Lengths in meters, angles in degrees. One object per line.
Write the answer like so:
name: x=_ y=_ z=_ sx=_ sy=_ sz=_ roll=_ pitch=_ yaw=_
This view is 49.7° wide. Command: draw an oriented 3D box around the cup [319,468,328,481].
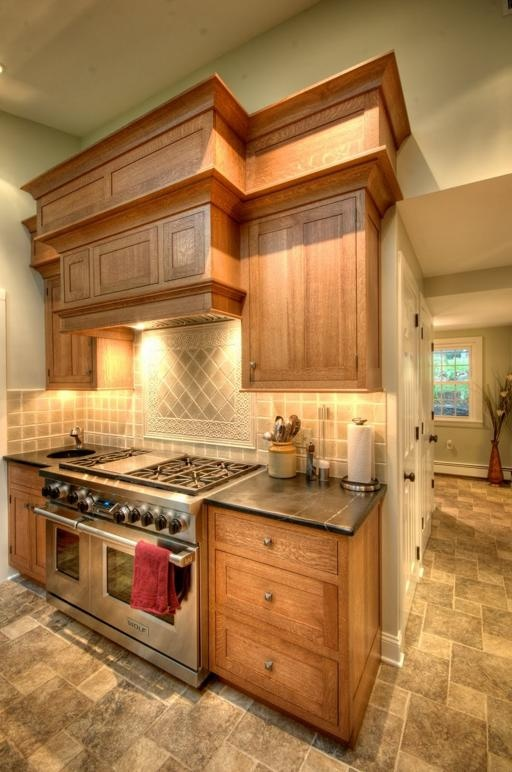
cup: x=0.327 y=0.418 z=2.646 sx=0.050 sy=0.058 sz=0.053 roll=0 pitch=-5 yaw=0

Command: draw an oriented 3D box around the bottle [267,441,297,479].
bottle: x=0.134 y=0.367 z=2.794 sx=0.153 sy=0.172 sz=0.147 roll=-2 pitch=4 yaw=-41

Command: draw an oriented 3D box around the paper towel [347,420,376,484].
paper towel: x=0.493 y=0.292 z=2.573 sx=0.131 sy=0.282 sz=0.187 roll=2 pitch=8 yaw=13

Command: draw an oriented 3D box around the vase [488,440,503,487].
vase: x=2.651 y=0.810 z=6.051 sx=0.160 sy=0.445 sz=0.390 roll=3 pitch=9 yaw=23

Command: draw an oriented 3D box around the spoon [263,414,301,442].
spoon: x=0.134 y=0.210 z=2.737 sx=0.188 sy=0.131 sz=0.066 roll=-2 pitch=8 yaw=-15

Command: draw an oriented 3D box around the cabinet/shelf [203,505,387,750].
cabinet/shelf: x=0.198 y=0.959 z=2.630 sx=0.816 sy=1.249 sz=0.802 roll=-2 pitch=-5 yaw=30

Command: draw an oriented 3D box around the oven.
oven: x=-0.693 y=0.945 z=2.924 sx=1.119 sy=0.616 sz=0.588 roll=4 pitch=6 yaw=37
